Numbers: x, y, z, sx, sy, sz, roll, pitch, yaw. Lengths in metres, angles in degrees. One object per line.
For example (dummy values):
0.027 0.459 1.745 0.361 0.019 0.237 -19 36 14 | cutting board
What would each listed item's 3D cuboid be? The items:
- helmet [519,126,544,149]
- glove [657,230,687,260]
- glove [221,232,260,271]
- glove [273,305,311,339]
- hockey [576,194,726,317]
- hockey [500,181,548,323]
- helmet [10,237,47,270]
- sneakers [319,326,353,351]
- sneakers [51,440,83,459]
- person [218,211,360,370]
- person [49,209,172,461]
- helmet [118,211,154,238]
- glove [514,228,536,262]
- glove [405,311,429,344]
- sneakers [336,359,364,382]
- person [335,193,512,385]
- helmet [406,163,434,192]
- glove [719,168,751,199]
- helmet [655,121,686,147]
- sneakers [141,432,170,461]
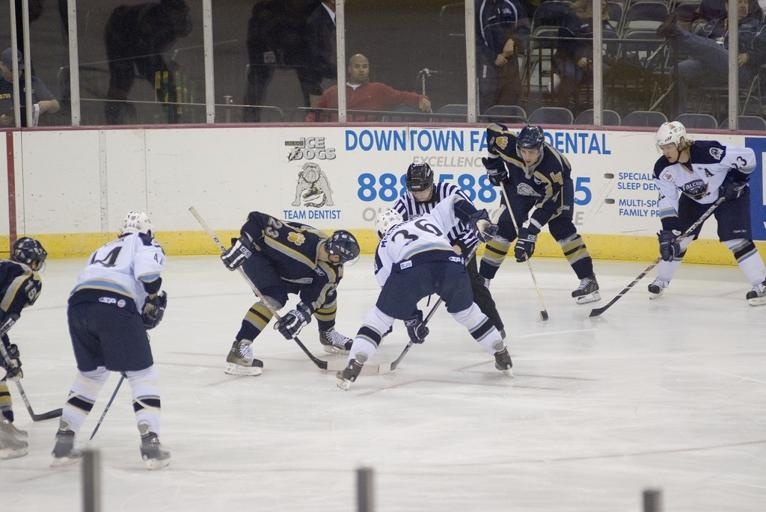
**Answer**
1.228 -1.013 8.999 0.181 0.211 0.216 5 15 11 | helmet
2.441 -0.099 9.187 0.253 0.239 0.107 5 6 23 | glove
-1.085 -0.040 7.837 0.279 0.200 0.110 -36 29 -20 | glove
-0.689 0.458 7.864 0.314 0.222 0.117 10 -25 -28 | glove
2.524 0.004 9.942 0.179 1.562 0.174 30 22 -50 | hockey
1.241 -0.034 9.632 0.157 1.335 0.161 -12 -16 -4 | hockey
-2.420 -0.005 7.270 0.214 0.239 0.255 0 -6 10 | helmet
-0.378 0.666 8.440 0.301 0.204 0.138 -1 9 1 | sneakers
-2.013 1.242 6.762 0.245 0.086 0.330 1 -10 -12 | sneakers
-0.723 0.229 8.070 1.362 1.272 1.138 0 0 -44 | person
-1.734 0.518 6.858 0.752 1.601 0.495 0 4 -3 | person
-1.643 -0.213 7.084 0.161 0.191 0.200 3 10 7 | helmet
1.190 -0.093 9.115 0.117 0.267 0.213 20 0 8 | glove
0.194 0.524 7.884 0.228 0.141 0.319 -5 28 -8 | glove
-0.245 0.825 7.512 0.154 0.190 0.082 39 7 -8 | sneakers
0.212 0.132 7.906 1.066 0.861 1.502 -1 27 -10 | person
0.260 -0.626 8.152 0.197 0.203 0.211 -4 35 6 | helmet
2.944 -0.617 9.037 0.224 0.267 0.143 2 4 15 | glove
2.445 -1.035 8.956 0.258 0.232 0.189 -7 4 -23 | helmet
-1.445 1.214 6.720 0.180 0.197 0.082 0 4 -12 | sneakers
